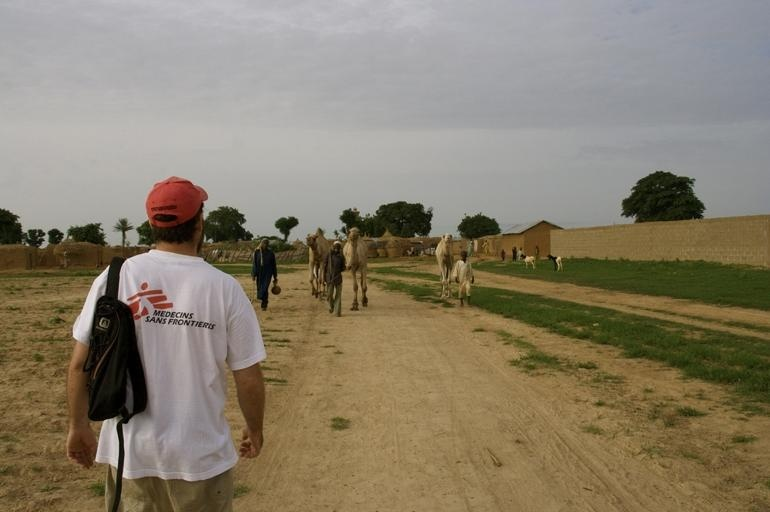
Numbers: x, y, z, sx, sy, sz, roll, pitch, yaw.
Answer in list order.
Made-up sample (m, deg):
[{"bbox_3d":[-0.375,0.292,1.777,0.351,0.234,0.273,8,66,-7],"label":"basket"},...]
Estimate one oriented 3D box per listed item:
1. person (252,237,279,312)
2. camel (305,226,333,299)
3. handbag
[{"bbox_3d":[-4.168,0.540,17.075,0.972,2.820,1.124,-1,-6,-2],"label":"person"},{"bbox_3d":[-2.682,0.208,20.597,1.223,3.115,3.189,0,0,-4],"label":"camel"},{"bbox_3d":[-2.363,0.736,4.435,0.453,1.390,0.493,-7,13,-32],"label":"handbag"}]
